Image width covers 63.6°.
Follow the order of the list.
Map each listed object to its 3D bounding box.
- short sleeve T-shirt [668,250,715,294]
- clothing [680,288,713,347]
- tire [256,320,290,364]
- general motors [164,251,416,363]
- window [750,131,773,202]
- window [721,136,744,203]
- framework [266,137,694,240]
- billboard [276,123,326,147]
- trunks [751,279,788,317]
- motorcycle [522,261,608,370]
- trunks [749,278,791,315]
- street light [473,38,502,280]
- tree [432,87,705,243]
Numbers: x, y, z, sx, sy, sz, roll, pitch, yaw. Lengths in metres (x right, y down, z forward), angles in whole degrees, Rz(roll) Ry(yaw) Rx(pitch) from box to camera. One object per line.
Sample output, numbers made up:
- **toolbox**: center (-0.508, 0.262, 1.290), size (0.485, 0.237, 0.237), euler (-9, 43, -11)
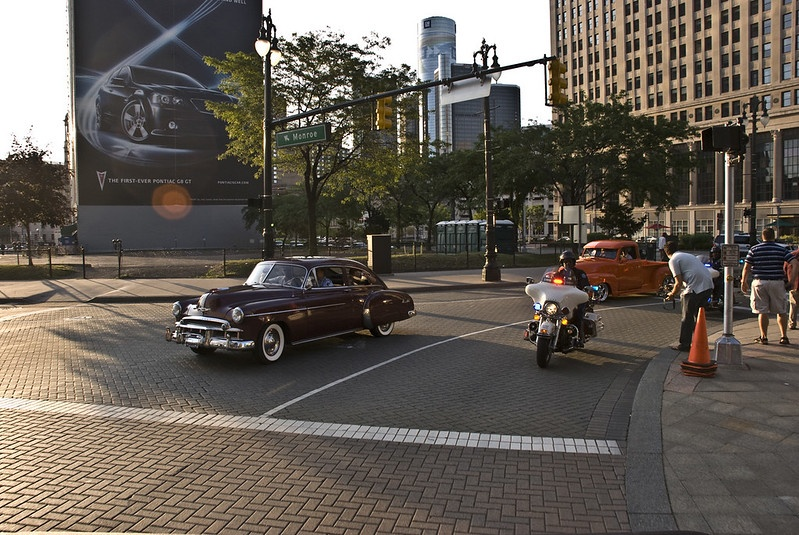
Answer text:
- **short sleeve T-shirt**: center (6.013, 0.162, 13.355), size (0.898, 0.967, 0.557), euler (3, -29, -26)
- **clothing**: center (6.024, 1.045, 13.264), size (0.497, 1.196, 0.895), euler (3, 8, 24)
- **tire**: center (-2.523, 1.451, 12.758), size (0.303, 0.973, 0.870), euler (3, 2, 33)
- **general motors**: center (-2.113, 0.820, 14.025), size (2.006, 1.601, 4.994), euler (-6, -5, 40)
- **window**: center (42.684, -11.219, 76.120), size (2.484, 11.025, 0.532), euler (-11, 46, 19)
- **window**: center (6.074, -1.896, 11.953), size (0.490, 1.524, 0.346), euler (1, 4, 21)
- **framework**: center (7.107, -6.330, 53.404), size (18.817, 7.873, 19.351), euler (-2, 5, 19)
- **billboard**: center (-3.339, -4.690, 22.937), size (0.890, 0.670, 2.608), euler (-6, 9, -37)
- **trunks**: center (7.797, 0.610, 13.738), size (0.712, 0.713, 0.431), euler (-3, -1, 11)
- **motorcycle**: center (3.231, 0.821, 12.944), size (0.972, 2.189, 1.972), euler (5, 9, 37)
- **trunks**: center (7.905, 0.654, 13.761), size (1.032, 1.010, 0.646), euler (-1, -5, 41)
- **street light**: center (3.702, -3.850, 26.515), size (0.782, 10.391, 1.787), euler (-6, 17, -6)
- **tree**: center (13.954, -7.411, 47.384), size (12.790, 9.863, 11.933), euler (1, 7, 15)
